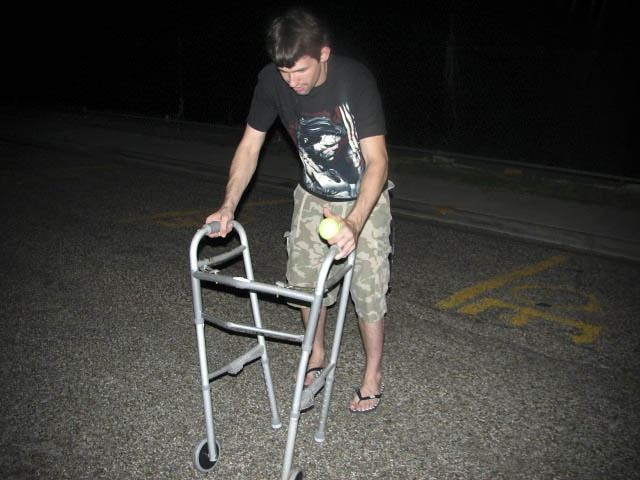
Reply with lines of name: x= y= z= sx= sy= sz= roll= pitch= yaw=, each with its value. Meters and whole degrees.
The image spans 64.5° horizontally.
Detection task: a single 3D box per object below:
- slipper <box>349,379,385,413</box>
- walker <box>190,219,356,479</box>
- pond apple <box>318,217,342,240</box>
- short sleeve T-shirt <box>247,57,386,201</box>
slipper: x=0.380 y=1.201 z=3.949 sx=0.247 sy=0.129 sz=0.521 roll=1 pitch=7 yaw=21
walker: x=-0.361 y=0.664 z=3.399 sx=1.012 sy=1.619 sz=0.966 roll=16 pitch=18 yaw=26
pond apple: x=0.061 y=-0.065 z=2.802 sx=0.121 sy=0.118 sz=0.080 roll=4 pitch=17 yaw=-12
short sleeve T-shirt: x=0.024 y=-0.794 z=3.642 sx=1.087 sy=0.965 sz=0.396 roll=7 pitch=38 yaw=25
